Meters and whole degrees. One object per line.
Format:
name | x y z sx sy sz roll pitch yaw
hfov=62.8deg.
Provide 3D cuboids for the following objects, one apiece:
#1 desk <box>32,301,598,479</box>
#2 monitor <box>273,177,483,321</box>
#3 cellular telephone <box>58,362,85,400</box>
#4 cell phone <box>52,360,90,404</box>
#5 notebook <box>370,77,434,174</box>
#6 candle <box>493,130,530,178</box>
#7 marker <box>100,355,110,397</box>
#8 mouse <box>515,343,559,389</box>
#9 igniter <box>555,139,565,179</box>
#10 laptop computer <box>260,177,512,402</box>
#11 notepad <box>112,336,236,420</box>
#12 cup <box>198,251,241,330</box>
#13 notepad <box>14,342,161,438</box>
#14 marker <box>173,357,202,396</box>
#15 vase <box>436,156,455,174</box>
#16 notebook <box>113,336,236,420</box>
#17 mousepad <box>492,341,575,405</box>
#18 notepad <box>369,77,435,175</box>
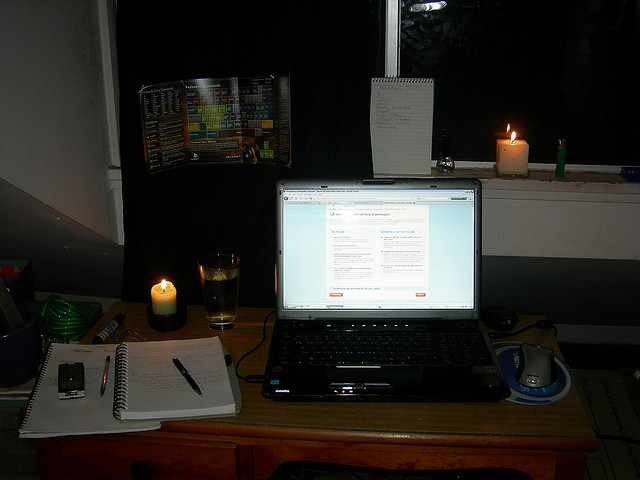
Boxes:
desk | -0.059 0.415 1.913 1.484 0.421 1.257 0 17 -4
monitor | 0.167 -0.027 1.764 0.651 0.416 0.537 0 19 1
cellular telephone | -0.631 0.354 1.327 0.062 0.031 0.109 1 29 -27
cell phone | -0.632 0.354 1.327 0.062 0.026 0.104 0 31 -26
notebook | 0.256 -0.356 1.646 0.224 0.295 0.011 11 19 37
candle | 0.687 -0.306 1.872 0.118 0.159 0.112 3 17 18
marker | -0.544 0.346 1.341 0.014 0.014 0.126 -33 37 13
mouse | 0.572 0.314 1.387 0.111 0.052 0.179 3 26 23
igniter | 0.851 -0.289 1.861 0.025 0.134 0.058 5 18 24
laptop computer | 0.154 0.109 1.359 0.609 0.395 0.481 1 23 7
notepad | -0.373 0.356 1.362 0.342 0.062 0.340 -9 30 -24
cup | -0.311 0.164 1.592 0.144 0.222 0.146 -1 9 0
notepad | -0.598 0.377 1.339 0.366 0.038 0.392 27 23 35
marker | -0.342 0.354 1.339 0.015 0.014 0.132 -18 36 -31
vase | 0.447 -0.270 1.872 0.064 0.057 0.062 2 10 11
notebook | -0.375 0.361 1.337 0.298 0.064 0.363 -1 17 -8
mousepad | 0.554 0.372 1.392 0.158 0.039 0.160 3 35 7
notepad | 0.258 -0.347 1.644 0.220 0.294 0.015 8 19 34
